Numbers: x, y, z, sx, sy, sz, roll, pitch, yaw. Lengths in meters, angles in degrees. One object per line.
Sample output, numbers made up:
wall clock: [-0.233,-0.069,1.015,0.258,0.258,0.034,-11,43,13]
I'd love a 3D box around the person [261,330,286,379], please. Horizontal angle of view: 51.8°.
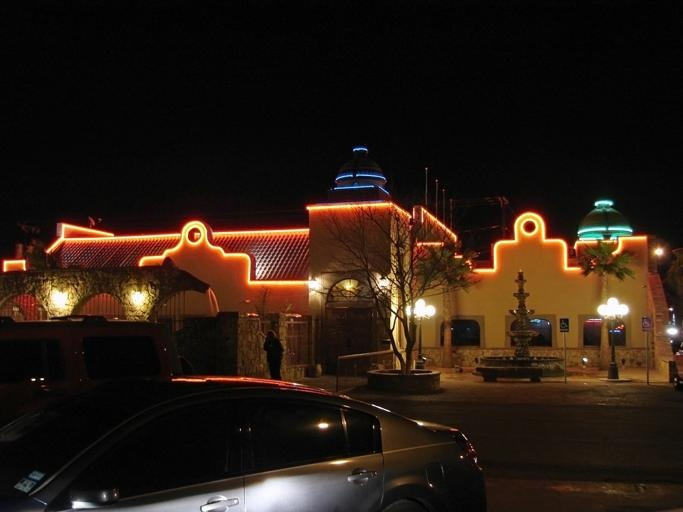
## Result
person: [-1.821,2.645,18.748,0.598,0.976,1.949,13,-7,-5]
